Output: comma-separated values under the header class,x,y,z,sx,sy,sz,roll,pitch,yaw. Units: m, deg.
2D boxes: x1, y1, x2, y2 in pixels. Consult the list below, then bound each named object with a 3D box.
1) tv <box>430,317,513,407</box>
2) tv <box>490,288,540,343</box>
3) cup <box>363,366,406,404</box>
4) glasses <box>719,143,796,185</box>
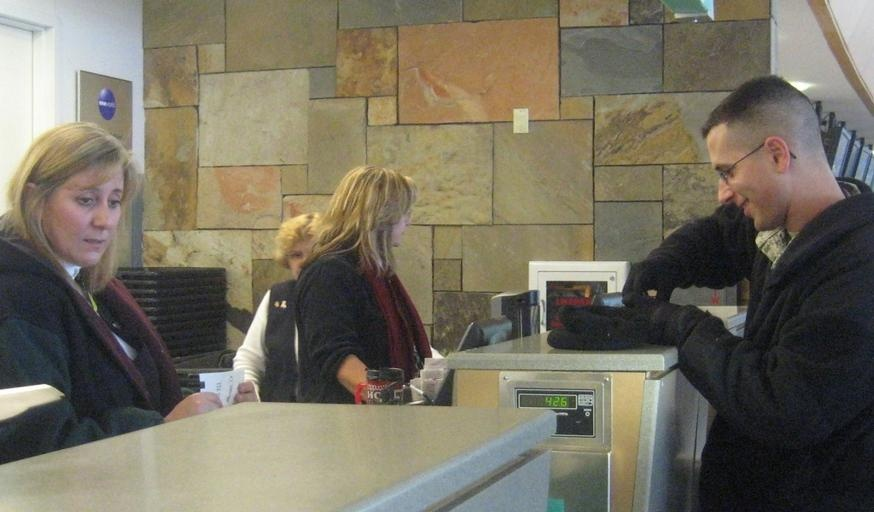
class,x,y,z,sx,sy,sz,roll,pitch,yaw
tv,0.152,0.442,4.065,0.138,0.328,0.361,19,0,15
tv,0.390,0.257,4.304,0.236,0.265,0.155,1,-2,23
cup,-0.218,0.561,4.197,0.149,0.157,0.149,1,-23,0
glasses,1.370,-0.376,4.170,0.226,0.068,0.173,-37,-10,22
